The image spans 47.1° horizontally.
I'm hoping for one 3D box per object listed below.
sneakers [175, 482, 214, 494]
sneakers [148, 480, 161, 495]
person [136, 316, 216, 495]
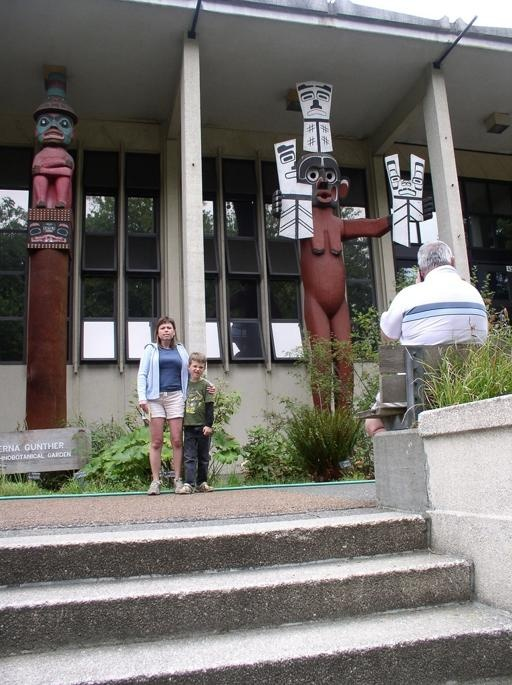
[{"bbox_3d":[-0.554,1.325,5.290,0.330,0.144,0.121,12,-23,-27],"label":"sneakers"},{"bbox_3d":[-0.892,1.273,5.129,0.092,0.132,0.157,5,11,-1],"label":"sneakers"},{"bbox_3d":[-0.854,0.638,5.304,0.453,1.631,0.728,4,11,-8],"label":"person"}]
